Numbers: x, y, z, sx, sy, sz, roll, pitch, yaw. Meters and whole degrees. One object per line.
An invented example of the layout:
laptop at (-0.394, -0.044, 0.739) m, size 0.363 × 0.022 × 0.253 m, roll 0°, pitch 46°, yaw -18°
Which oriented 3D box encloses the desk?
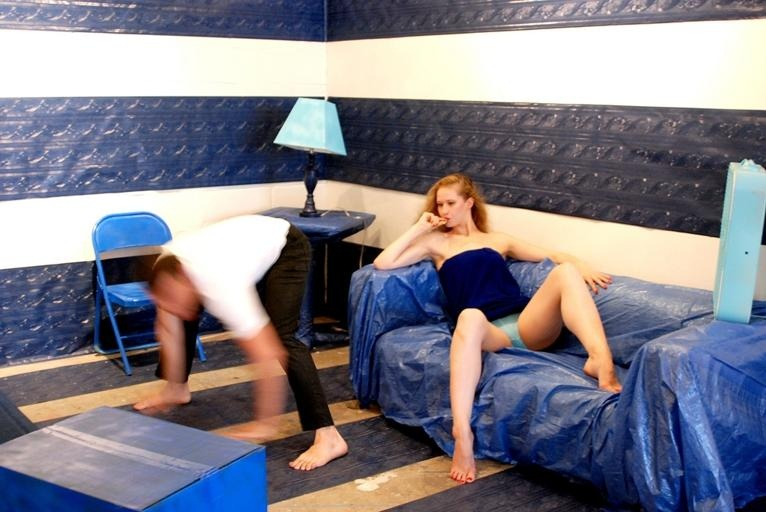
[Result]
desk at (-0.457, -0.108, 4.040) m, size 0.524 × 0.435 × 0.517 m, roll 12°, pitch 20°, yaw 36°

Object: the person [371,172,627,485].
person at (0.679, 0.202, 2.965) m, size 1.228 × 1.044 × 1.528 m, roll -13°, pitch 20°, yaw -5°

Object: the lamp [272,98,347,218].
lamp at (-0.605, -0.802, 4.187) m, size 0.540 × 0.920 × 0.693 m, roll 3°, pitch 11°, yaw -10°
